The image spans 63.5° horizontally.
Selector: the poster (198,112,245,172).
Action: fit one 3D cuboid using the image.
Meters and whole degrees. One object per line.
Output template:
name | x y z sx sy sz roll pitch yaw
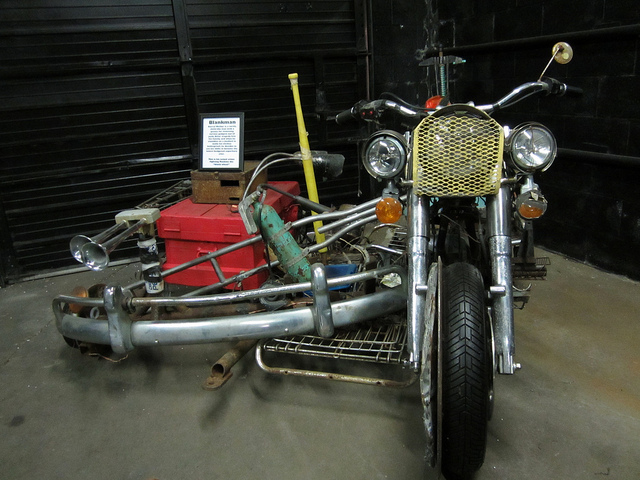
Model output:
poster | -0.772 -0.766 4.068 0.372 0.481 0.027 0 -2 7
